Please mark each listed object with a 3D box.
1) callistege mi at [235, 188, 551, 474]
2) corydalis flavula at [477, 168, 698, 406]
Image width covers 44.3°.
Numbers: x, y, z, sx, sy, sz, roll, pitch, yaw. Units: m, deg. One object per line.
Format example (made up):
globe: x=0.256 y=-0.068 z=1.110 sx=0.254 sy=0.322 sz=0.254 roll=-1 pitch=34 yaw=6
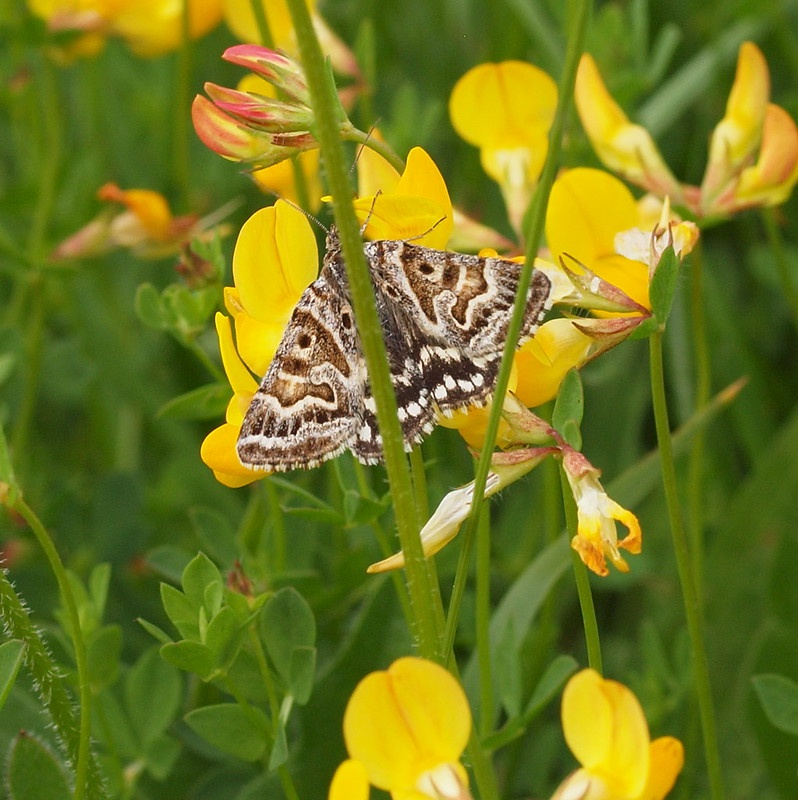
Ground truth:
callistege mi: x=0.003 y=-0.042 z=0.761 sx=0.221 sy=0.117 sz=0.222 roll=7 pitch=44 yaw=12
corydalis flavula: x=0.156 y=-0.059 z=0.914 sx=0.153 sy=0.278 sz=0.139 roll=-4 pitch=32 yaw=-18
